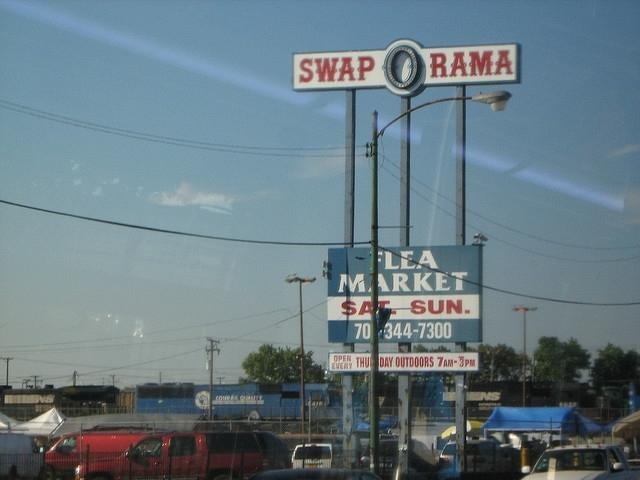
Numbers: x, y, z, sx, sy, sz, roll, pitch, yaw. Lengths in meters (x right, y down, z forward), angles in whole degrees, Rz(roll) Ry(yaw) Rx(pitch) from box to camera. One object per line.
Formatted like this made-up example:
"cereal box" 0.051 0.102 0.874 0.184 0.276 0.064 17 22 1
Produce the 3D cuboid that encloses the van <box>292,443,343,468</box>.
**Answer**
"van" -0.121 13.939 82.597 2.008 1.886 3.333 1 0 6

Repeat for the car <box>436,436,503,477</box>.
"car" 9.818 14.116 83.121 2.470 2.085 5.796 -1 2 10
